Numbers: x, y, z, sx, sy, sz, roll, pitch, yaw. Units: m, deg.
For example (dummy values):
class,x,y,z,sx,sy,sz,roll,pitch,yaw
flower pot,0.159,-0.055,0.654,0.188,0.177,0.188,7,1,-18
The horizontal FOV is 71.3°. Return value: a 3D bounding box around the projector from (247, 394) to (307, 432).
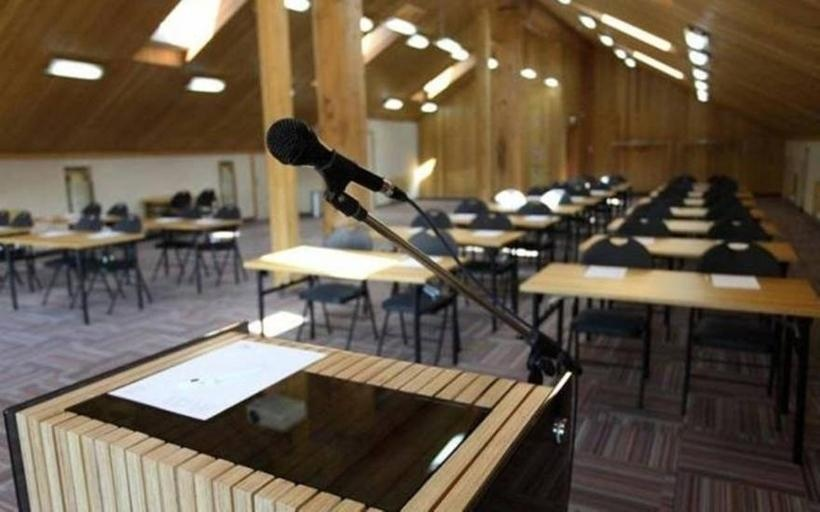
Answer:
class,x,y,z,sx,sy,sz,roll,pitch,yaw
projector,-0.426,0.501,1.824,0.189,0.078,0.119,-2,7,14
